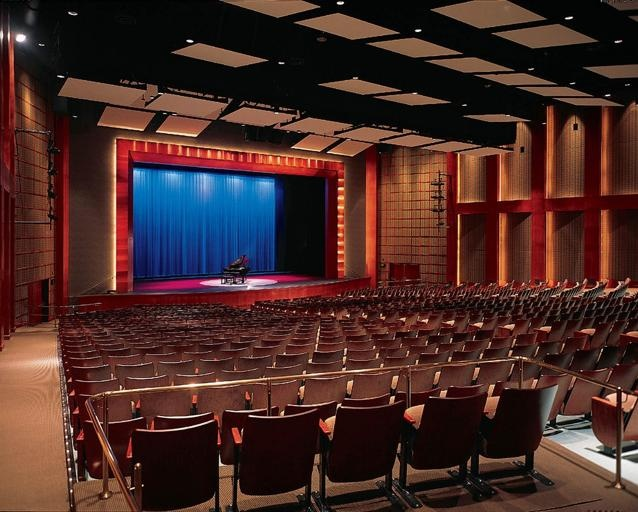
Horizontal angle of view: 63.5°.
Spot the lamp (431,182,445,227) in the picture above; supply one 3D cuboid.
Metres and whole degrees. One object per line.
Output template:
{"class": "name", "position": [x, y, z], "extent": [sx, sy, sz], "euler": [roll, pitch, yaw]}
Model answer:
{"class": "lamp", "position": [5.715, -2.546, 24.574], "extent": [0.675, 2.183, 1.092], "euler": [0, 4, 11]}
